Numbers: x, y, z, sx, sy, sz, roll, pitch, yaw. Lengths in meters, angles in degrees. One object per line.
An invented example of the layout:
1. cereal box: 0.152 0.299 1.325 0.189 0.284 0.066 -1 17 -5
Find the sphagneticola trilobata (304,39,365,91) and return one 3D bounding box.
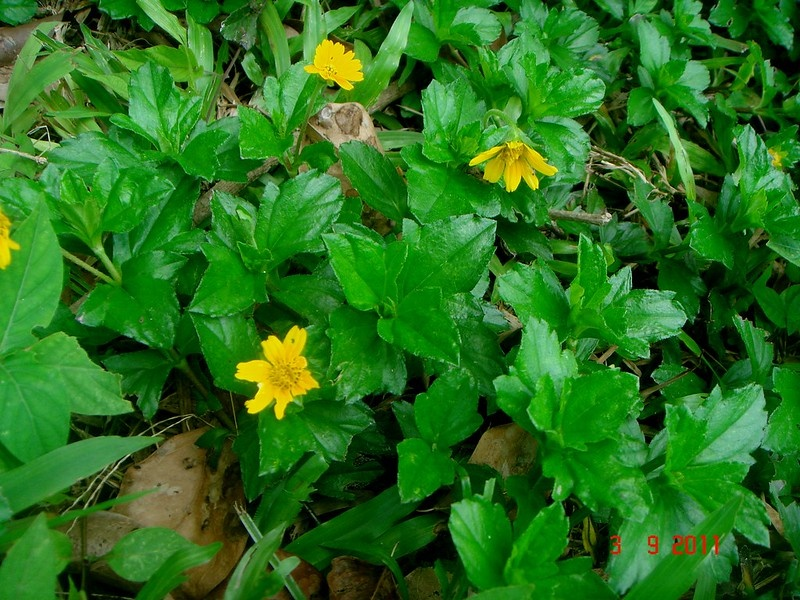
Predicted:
1. sphagneticola trilobata: -0.241 -0.848 2.155 0.188 0.185 0.076 8 85 1

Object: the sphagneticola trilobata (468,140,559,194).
1. sphagneticola trilobata: 0.382 -0.467 2.033 0.207 0.201 0.080 41 32 -22

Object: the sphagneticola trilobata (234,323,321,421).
1. sphagneticola trilobata: -0.361 0.220 1.757 0.214 0.100 0.226 -16 69 -24
